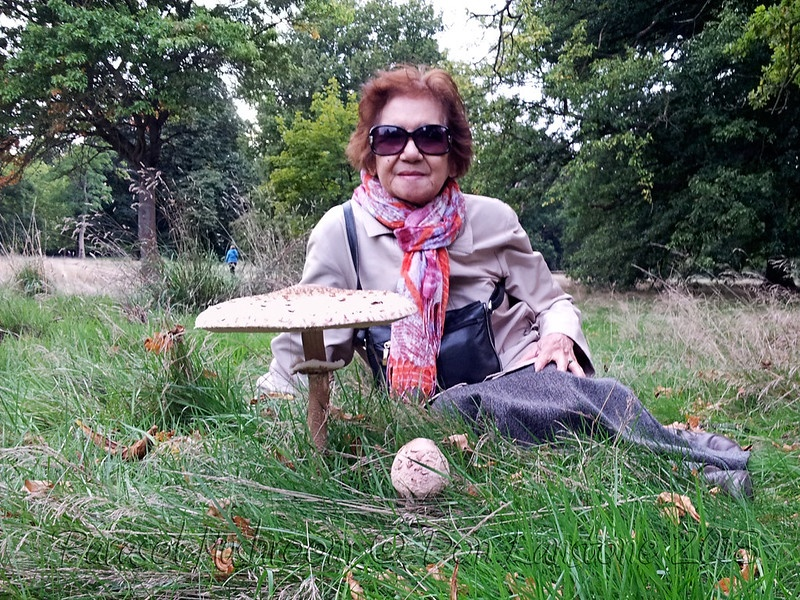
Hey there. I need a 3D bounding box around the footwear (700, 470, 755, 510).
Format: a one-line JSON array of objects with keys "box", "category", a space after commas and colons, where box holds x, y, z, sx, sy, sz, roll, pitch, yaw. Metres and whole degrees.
[{"box": [1.670, 0.933, 3.694, 0.157, 0.080, 0.200, -3, 9, -40], "category": "footwear"}]

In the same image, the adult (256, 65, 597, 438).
[{"box": [0.126, -0.385, 4.518, 1.855, 2.091, 1.166, -3, 7, 3], "category": "adult"}]

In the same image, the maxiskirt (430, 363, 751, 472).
[{"box": [0.937, 0.597, 3.945, 1.096, 0.412, 0.801, 0, -8, -2], "category": "maxiskirt"}]

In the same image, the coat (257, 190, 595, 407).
[{"box": [0.170, -0.007, 4.657, 1.869, 1.701, 1.060, -4, -2, 2], "category": "coat"}]

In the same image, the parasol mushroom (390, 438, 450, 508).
[{"box": [0.119, 0.797, 3.616, 0.228, 0.318, 0.278, 14, 20, 11], "category": "parasol mushroom"}]

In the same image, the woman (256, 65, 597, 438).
[{"box": [0.126, -0.392, 4.517, 1.845, 2.058, 1.090, -5, 11, -3], "category": "woman"}]

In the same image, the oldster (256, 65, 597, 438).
[{"box": [0.127, -0.359, 4.506, 1.929, 2.127, 1.162, -3, 8, 2], "category": "oldster"}]
